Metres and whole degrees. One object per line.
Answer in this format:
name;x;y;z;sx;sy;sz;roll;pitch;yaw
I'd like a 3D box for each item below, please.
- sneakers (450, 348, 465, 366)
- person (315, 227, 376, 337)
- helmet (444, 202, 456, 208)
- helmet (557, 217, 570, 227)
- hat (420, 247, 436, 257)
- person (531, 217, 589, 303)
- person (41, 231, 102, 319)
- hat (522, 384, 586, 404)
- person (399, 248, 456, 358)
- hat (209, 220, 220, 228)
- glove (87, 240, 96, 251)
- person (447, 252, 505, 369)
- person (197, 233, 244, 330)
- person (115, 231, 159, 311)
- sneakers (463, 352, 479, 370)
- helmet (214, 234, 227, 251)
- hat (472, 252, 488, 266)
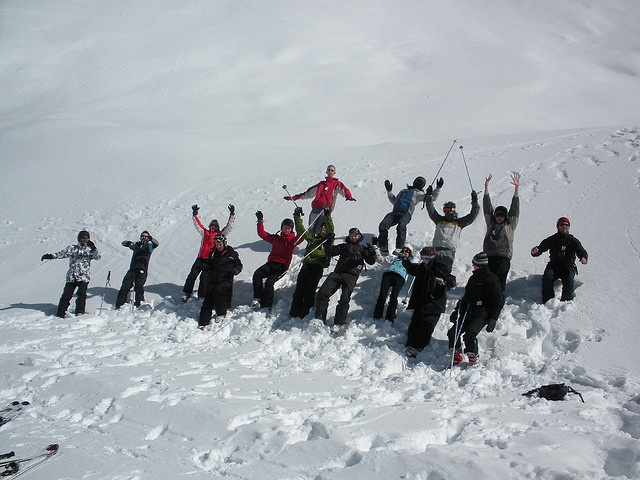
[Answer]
sneakers;2.732;2.343;10.306;0.243;0.250;0.321;-31;-17;10
person;0.574;0.889;11.836;1.016;1.575;1.444;8;4;20
helmet;3.204;-0.868;12.801;0.231;0.121;0.285;5;3;6
helmet;5.541;-0.421;11.844;0.300;0.145;0.430;2;-9;11
hat;2.362;0.256;11.332;0.268;0.212;0.253;-9;6;-41
person;5.372;0.466;11.514;0.967;1.786;0.582;8;4;22
person;-6.512;0.887;13.815;0.955;2.212;1.395;4;5;-31
hat;4.106;2.683;9.053;0.584;0.226;0.400;6;-10;-18
person;2.340;1.297;11.129;0.923;1.779;1.374;7;4;10
hat;-2.879;-0.433;14.114;0.218;0.290;0.294;20;-3;-6
glove;-6.192;0.107;14.110;0.259;0.260;0.082;33;39;18
person;3.207;1.395;10.567;0.971;1.885;0.923;7;4;4
person;-2.393;0.975;12.517;0.822;2.095;1.130;6;4;-7
person;-5.007;0.817;14.093;0.931;2.061;1.462;5;4;-20
sneakers;3.001;2.388;10.189;0.225;0.277;0.281;-12;-23;-15
helmet;-2.500;0.079;12.961;0.335;0.436;0.395;0;-13;-4
hat;3.297;0.403;10.619;0.225;0.232;0.316;17;2;19
